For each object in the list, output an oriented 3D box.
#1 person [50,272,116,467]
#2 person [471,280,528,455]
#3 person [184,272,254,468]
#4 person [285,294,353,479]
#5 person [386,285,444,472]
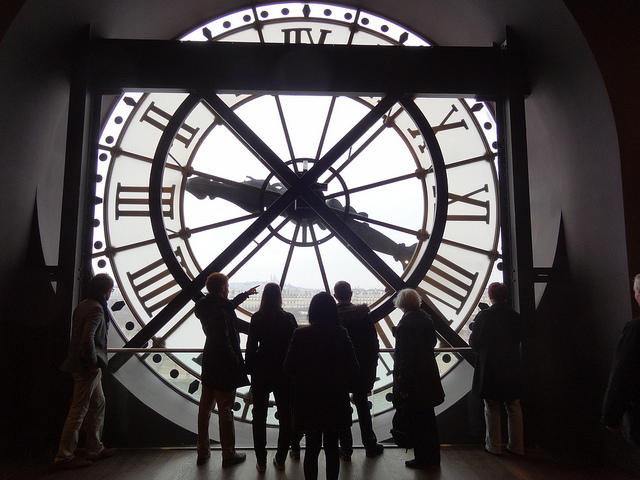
[{"bbox_3d":[-2.006,1.127,5.651,0.410,1.628,0.502,4,-14,-9],"label":"person"},{"bbox_3d":[1.629,1.182,5.955,0.484,1.508,0.581,-2,-14,18],"label":"person"},{"bbox_3d":[-0.931,1.129,5.853,0.651,1.745,0.842,5,-14,-11],"label":"person"},{"bbox_3d":[-0.025,1.147,5.106,0.524,1.406,0.296,4,-14,-6],"label":"person"},{"bbox_3d":[0.836,1.242,5.715,0.446,1.509,0.727,1,-14,6],"label":"person"}]
